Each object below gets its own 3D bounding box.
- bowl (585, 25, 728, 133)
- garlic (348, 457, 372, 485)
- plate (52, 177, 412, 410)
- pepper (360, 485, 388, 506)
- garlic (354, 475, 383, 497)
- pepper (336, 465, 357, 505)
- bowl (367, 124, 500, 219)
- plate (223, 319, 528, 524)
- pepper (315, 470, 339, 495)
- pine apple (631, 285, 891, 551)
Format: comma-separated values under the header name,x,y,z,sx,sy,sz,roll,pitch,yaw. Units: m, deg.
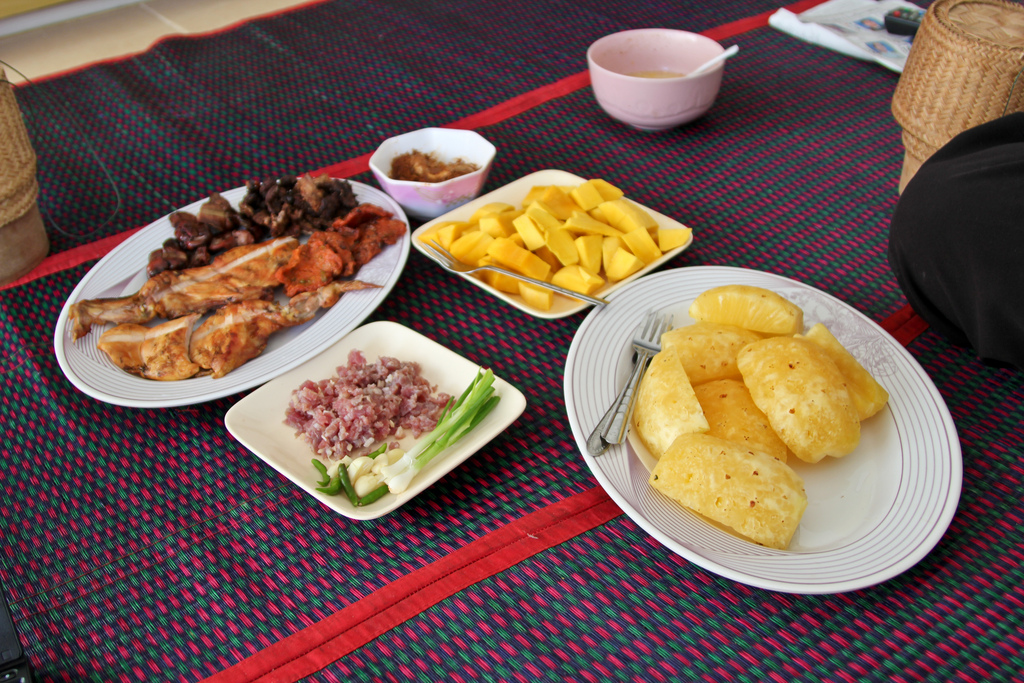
name,x,y,z,sx,sy,sz,roll,pitch,yaw
bowl,0.325,-0.589,1.609,0.295,0.154,0.284,-2,45,2
garlic,-0.220,0.187,1.028,0.033,0.017,0.034,23,60,21
plate,-0.522,-0.152,1.279,0.595,0.320,0.537,17,39,28
pepper,-0.195,0.219,1.008,0.068,0.017,0.013,-18,66,5
garlic,-0.206,0.206,1.015,0.034,0.020,0.030,-22,68,-2
pepper,-0.236,0.207,1.015,0.015,0.014,0.059,-32,87,7
bowl,-0.152,-0.356,1.415,0.224,0.114,0.211,-1,45,1
plate,-0.207,0.105,1.091,0.329,0.082,0.320,35,70,20
pepper,-0.260,0.208,1.019,0.034,0.019,0.026,-32,65,-12
pine apple,0.338,0.086,1.031,0.316,0.113,0.381,35,70,20
